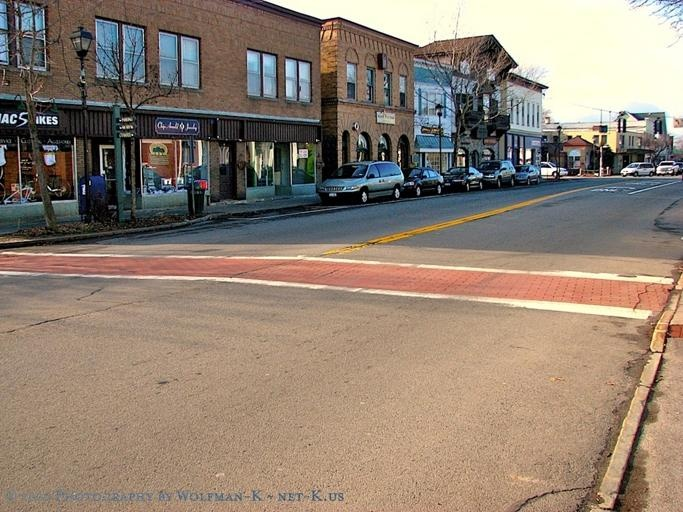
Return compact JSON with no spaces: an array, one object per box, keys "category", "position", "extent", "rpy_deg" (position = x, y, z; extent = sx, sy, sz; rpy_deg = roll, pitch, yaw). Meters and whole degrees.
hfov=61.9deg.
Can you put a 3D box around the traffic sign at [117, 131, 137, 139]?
[{"category":"traffic sign","position":[-7.633,-4.337,20.258],"extent":[0.576,0.278,0.395],"rpy_deg":[7,12,35]}]

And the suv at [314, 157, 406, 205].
[{"category":"suv","position":[1.133,-3.879,29.986],"extent":[1.909,2.076,4.876],"rpy_deg":[7,12,39]}]

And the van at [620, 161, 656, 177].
[{"category":"van","position":[40.571,-11.651,77.774],"extent":[4.409,2.149,2.482],"rpy_deg":[-2,5,-19]}]

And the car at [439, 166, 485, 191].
[{"category":"car","position":[8.402,-5.383,40.253],"extent":[1.687,1.622,3.507],"rpy_deg":[8,13,42]}]

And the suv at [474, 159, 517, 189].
[{"category":"suv","position":[12.307,-6.479,45.440],"extent":[2.038,1.660,3.514],"rpy_deg":[2,6,34]}]

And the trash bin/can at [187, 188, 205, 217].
[{"category":"trash bin/can","position":[-5.908,-2.236,23.375],"extent":[0.958,1.052,0.711],"rpy_deg":[-8,12,-40]}]
